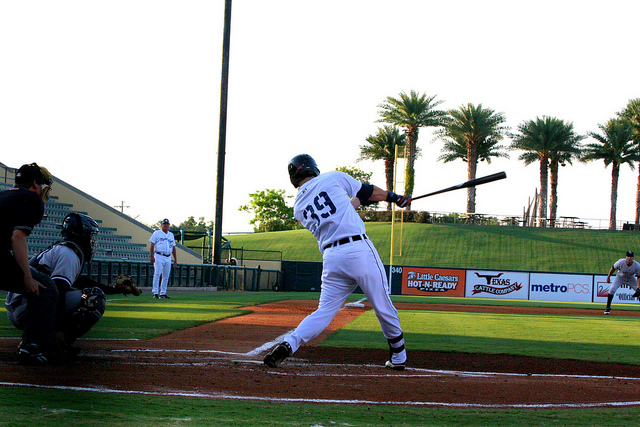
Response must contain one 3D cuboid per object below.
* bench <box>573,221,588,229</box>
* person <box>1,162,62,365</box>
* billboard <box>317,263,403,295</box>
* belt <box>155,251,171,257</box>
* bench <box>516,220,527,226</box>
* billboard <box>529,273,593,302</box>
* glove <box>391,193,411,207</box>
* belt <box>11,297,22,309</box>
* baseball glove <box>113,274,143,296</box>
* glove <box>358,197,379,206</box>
[{"bbox_3d":[17.071,0.792,56.104,0.787,0.570,4.517,4,3,16],"label":"bench"},{"bbox_3d":[-3.982,0.669,11.773,0.823,2.723,0.766,2,5,-17],"label":"person"},{"bbox_3d":[1.679,2.921,38.259,3.964,1.560,0.250,2,-8,-19],"label":"billboard"},{"bbox_3d":[-3.944,1.024,21.482,0.181,0.174,0.525,5,4,25],"label":"belt"},{"bbox_3d":[13.761,0.646,58.462,0.432,0.382,1.383,5,4,29],"label":"bench"},{"bbox_3d":[10.232,3.112,36.272,2.925,1.252,0.094,2,-3,-5],"label":"billboard"},{"bbox_3d":[1.186,-0.192,12.528,0.219,0.207,0.447,4,4,17],"label":"glove"},{"bbox_3d":[-4.272,1.260,12.011,0.175,0.152,0.015,4,4,18],"label":"belt"},{"bbox_3d":[-2.826,1.150,12.669,0.457,0.196,0.325,30,5,-23],"label":"baseball glove"},{"bbox_3d":[0.714,-0.166,12.471,0.290,0.111,0.489,3,3,9],"label":"glove"}]
